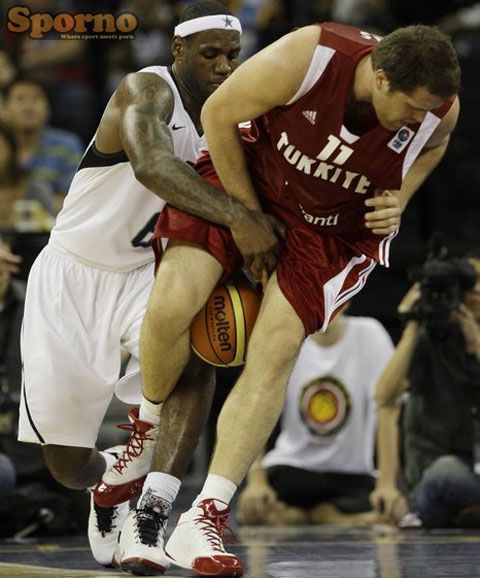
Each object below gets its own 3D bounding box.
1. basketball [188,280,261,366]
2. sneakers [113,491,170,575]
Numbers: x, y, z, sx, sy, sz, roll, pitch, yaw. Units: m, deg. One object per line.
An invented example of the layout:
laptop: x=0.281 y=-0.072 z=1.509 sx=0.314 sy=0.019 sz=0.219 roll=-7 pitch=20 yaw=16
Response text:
basketball: x=-0.044 y=0.096 z=2.186 sx=0.263 sy=0.242 sz=0.226 roll=7 pitch=-3 yaw=4
sneakers: x=-0.260 y=0.631 z=2.052 sx=0.096 sy=0.170 sz=0.259 roll=27 pitch=-1 yaw=-6
